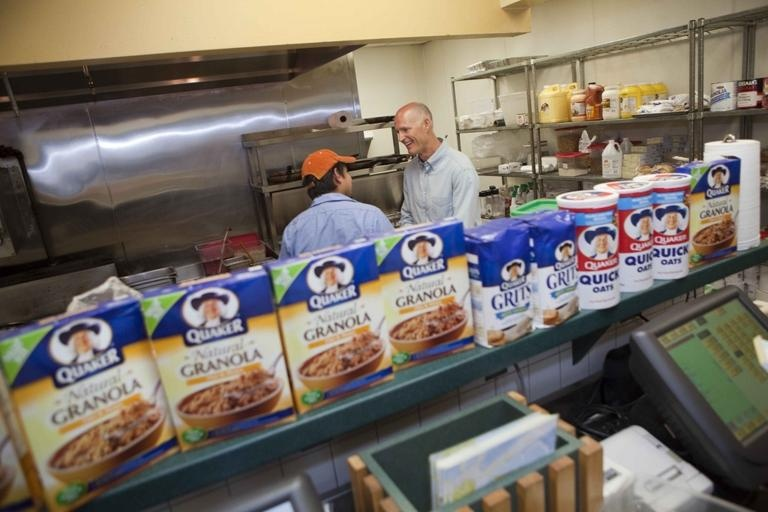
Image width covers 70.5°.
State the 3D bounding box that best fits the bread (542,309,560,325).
[{"bbox_3d":[0.520,0.192,1.691,0.050,0.051,0.049,-1,10,6],"label":"bread"}]

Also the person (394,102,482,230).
[{"bbox_3d":[0.291,-0.535,3.294,0.266,0.750,0.680,-23,24,-36],"label":"person"}]

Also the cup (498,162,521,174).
[{"bbox_3d":[1.143,-0.793,4.981,0.113,0.077,0.158,11,21,44],"label":"cup"}]

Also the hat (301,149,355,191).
[{"bbox_3d":[-0.266,-0.448,2.770,0.255,0.125,0.159,-27,13,-19],"label":"hat"}]

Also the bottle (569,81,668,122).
[{"bbox_3d":[1.745,-1.125,4.120,0.342,0.235,0.573,-13,17,-31],"label":"bottle"}]
